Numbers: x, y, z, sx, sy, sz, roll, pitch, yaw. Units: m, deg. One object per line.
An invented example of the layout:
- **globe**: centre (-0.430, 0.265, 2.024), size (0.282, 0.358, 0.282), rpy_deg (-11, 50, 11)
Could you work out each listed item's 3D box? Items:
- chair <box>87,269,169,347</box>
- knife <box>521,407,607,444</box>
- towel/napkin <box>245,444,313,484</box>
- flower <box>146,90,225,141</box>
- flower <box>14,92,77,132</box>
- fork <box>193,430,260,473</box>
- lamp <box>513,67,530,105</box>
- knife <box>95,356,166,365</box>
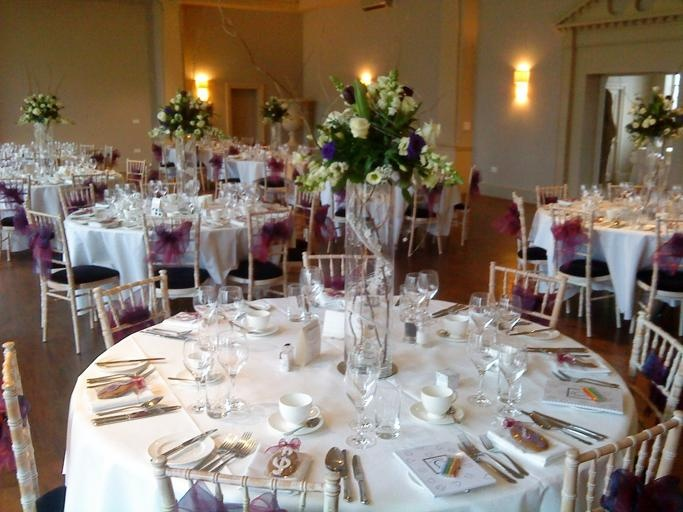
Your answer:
- **chair**: centre (-1.358, 0.326, 3.251), size (0.364, 0.652, 0.384), rpy_deg (-16, 33, -34)
- **knife**: centre (0.767, 0.608, 1.774), size (0.081, 0.014, 0.302), rpy_deg (-17, 20, -36)
- **towel/napkin**: centre (-0.190, 0.656, 1.555), size (0.114, 0.038, 0.123), rpy_deg (3, 7, 8)
- **flower**: centre (-1.717, -1.545, 5.541), size (0.648, 0.569, 0.443), rpy_deg (-2, 9, 2)
- **flower**: centre (-4.693, -2.253, 7.916), size (0.576, 0.577, 0.593), rpy_deg (-8, 10, -32)
- **fork**: centre (-0.371, 0.624, 1.592), size (0.060, 0.029, 0.233), rpy_deg (16, 22, 25)
- **lamp**: centre (3.732, -3.557, 10.474), size (0.141, 0.831, 0.345), rpy_deg (-9, 11, -36)
- **knife**: centre (-0.909, 0.464, 2.179), size (0.242, 0.021, 0.029), rpy_deg (0, 1, -13)
